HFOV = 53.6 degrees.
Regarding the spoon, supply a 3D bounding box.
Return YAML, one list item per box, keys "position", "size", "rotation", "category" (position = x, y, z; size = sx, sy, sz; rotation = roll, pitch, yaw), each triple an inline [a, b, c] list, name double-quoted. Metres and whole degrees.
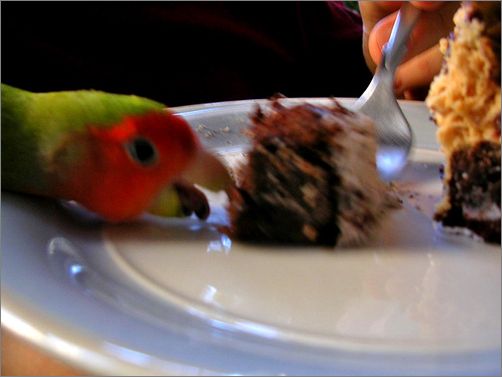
- position: [0.147, -0.115, 0.543]
  size: [0.059, 0.045, 0.293]
  rotation: [6, 41, 17]
  category: "spoon"
